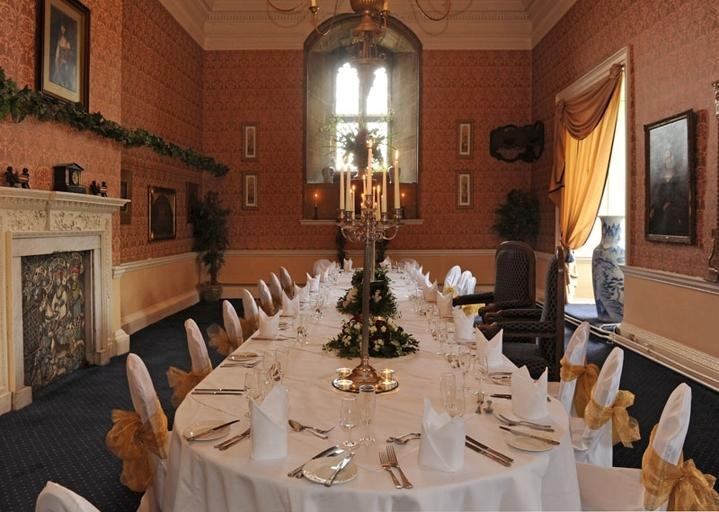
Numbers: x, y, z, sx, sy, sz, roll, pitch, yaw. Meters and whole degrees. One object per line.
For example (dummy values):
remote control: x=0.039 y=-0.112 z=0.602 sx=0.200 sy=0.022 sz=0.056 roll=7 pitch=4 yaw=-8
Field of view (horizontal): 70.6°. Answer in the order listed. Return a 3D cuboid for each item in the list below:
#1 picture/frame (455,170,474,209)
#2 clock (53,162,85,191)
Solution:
picture/frame: x=2.253 y=-1.393 z=10.850 sx=0.343 sy=0.732 sz=0.130 roll=1 pitch=13 yaw=11
clock: x=-3.318 y=-0.887 z=5.766 sx=0.186 sy=0.402 sz=0.383 roll=0 pitch=-1 yaw=3
